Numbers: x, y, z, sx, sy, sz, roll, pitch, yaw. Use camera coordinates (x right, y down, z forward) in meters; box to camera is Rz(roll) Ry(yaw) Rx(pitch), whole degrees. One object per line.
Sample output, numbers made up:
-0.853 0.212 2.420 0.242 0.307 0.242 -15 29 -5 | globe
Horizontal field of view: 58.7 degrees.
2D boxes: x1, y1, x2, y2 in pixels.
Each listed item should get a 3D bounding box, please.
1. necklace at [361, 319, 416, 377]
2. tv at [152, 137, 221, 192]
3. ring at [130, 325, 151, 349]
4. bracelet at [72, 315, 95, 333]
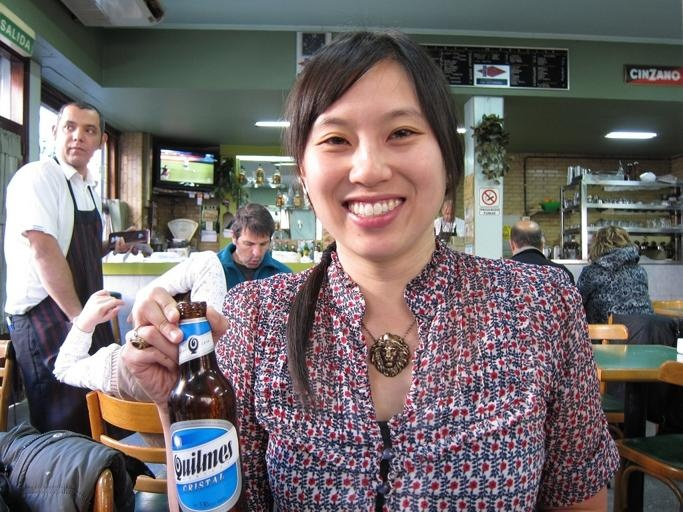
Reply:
0.133 0.230 1.658 0.182 0.234 0.042 -4 -41 3 | necklace
-2.169 -1.255 8.326 0.723 0.534 0.098 0 -1 -28 | tv
-0.518 0.212 1.555 0.041 0.028 0.057 3 -4 3 | ring
-1.137 0.295 2.661 0.095 0.070 0.093 4 2 -8 | bracelet
